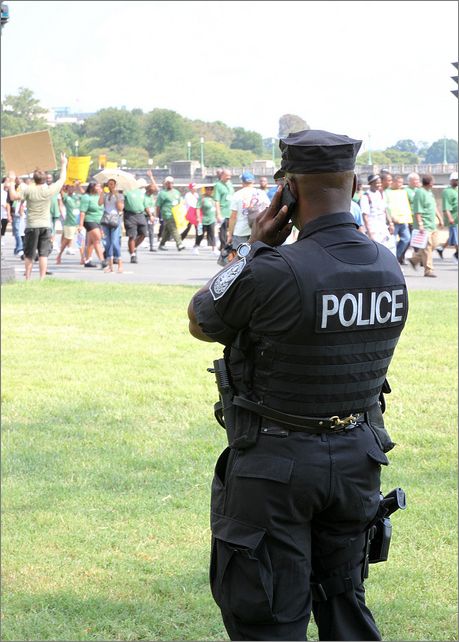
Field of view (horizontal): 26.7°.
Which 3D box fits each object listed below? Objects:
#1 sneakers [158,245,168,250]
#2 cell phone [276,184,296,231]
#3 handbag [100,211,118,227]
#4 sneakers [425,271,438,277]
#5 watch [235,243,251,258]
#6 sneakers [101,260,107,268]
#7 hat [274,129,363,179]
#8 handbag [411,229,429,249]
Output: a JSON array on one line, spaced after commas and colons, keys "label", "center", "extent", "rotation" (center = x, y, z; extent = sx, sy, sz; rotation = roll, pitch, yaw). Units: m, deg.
[{"label": "sneakers", "center": [-1.619, -1.737, 23.033], "extent": [0.278, 0.076, 0.163], "rotation": [2, -43, 2]}, {"label": "cell phone", "center": [0.180, -0.371, 3.030], "extent": [0.031, 0.107, 0.112], "rotation": [11, -46, -21]}, {"label": "handbag", "center": [-1.905, -1.612, 15.319], "extent": [0.298, 0.216, 0.148], "rotation": [10, -21, 17]}, {"label": "sneakers", "center": [3.154, -0.723, 15.092], "extent": [0.207, 0.089, 0.281], "rotation": [1, 11, -2]}, {"label": "watch", "center": [0.042, -0.221, 3.000], "extent": [0.053, 0.045, 0.012], "rotation": [-8, -37, 35]}, {"label": "sneakers", "center": [-2.134, -0.964, 16.413], "extent": [0.121, 0.119, 0.137], "rotation": [1, -4, 4]}, {"label": "hat", "center": [0.260, -0.509, 3.047], "extent": [0.256, 0.113, 0.218], "rotation": [-2, 2, 29]}, {"label": "handbag", "center": [2.933, -1.244, 14.932], "extent": [0.260, 0.295, 0.463], "rotation": [4, 12, 10]}]
